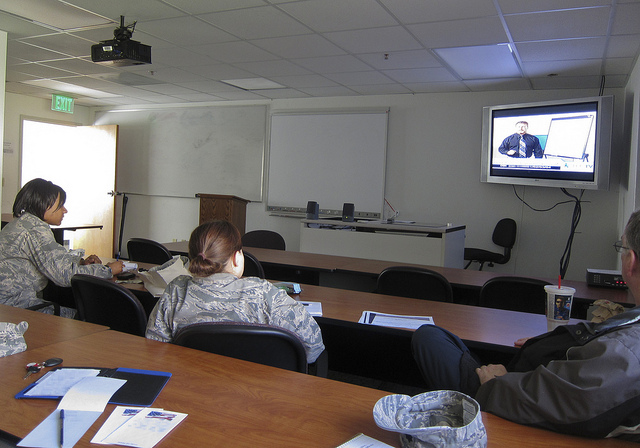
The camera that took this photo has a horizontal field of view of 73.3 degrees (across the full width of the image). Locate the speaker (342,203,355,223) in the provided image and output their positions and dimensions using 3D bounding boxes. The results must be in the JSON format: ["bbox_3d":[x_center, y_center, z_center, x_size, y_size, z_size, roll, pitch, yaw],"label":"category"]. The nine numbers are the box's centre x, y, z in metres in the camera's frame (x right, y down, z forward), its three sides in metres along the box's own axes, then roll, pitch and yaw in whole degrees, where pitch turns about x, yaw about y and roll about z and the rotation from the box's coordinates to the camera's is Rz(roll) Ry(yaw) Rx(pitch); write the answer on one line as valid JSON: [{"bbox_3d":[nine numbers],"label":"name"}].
[{"bbox_3d":[0.401,-0.164,6.083,0.153,0.219,0.167,3,8,-4],"label":"speaker"}]

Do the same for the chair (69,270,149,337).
[{"bbox_3d":[-1.200,0.458,2.425,0.521,0.342,0.188,9,10,35],"label":"chair"}]

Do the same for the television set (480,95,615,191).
[{"bbox_3d":[2.844,-1.030,5.516,1.528,1.067,0.161,11,11,44],"label":"television set"}]

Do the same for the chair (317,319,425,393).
[{"bbox_3d":[0.302,0.760,2.543,0.710,0.351,0.208,6,27,24],"label":"chair"}]

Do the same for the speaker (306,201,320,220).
[{"bbox_3d":[-0.097,-0.189,6.144,0.145,0.217,0.281,3,8,-2],"label":"speaker"}]
